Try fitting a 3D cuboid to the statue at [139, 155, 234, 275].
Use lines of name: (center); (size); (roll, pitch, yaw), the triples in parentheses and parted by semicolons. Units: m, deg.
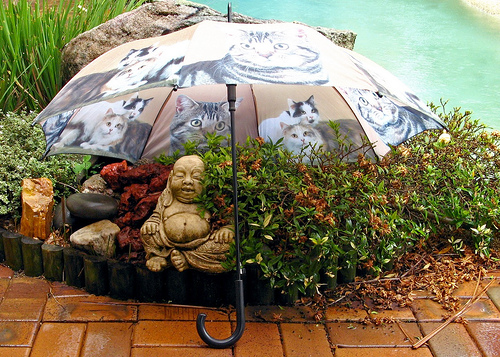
statue: (-0.503, 0.339, 3.768); (0.956, 1.092, 0.674); (3, 9, -1)
